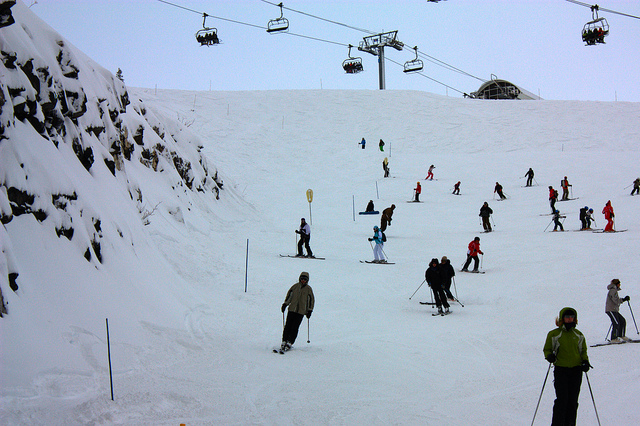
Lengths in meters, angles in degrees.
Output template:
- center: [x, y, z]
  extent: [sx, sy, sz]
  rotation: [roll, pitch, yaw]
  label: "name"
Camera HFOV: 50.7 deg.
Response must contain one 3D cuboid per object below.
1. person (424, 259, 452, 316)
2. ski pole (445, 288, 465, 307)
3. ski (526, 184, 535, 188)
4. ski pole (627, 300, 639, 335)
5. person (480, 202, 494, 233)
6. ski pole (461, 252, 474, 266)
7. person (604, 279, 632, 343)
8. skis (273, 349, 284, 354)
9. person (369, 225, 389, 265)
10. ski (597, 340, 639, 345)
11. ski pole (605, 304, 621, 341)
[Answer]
- center: [4.222, 2.582, 24.555]
  extent: [0.891, 2.292, 0.671]
  rotation: [4, 28, 25]
  label: "person"
- center: [4.964, 3.190, 25.226]
  extent: [0.882, 0.096, 0.088]
  rotation: [46, 15, 7]
  label: "ski pole"
- center: [14.088, -1.810, 45.652]
  extent: [0.916, 0.103, 0.098]
  rotation: [-11, 0, -22]
  label: "ski"
- center: [10.348, 3.528, 22.511]
  extent: [0.045, 1.272, 0.049]
  rotation: [-21, -1, 4]
  label: "ski pole"
- center: [8.701, 0.208, 35.673]
  extent: [0.645, 1.619, 0.954]
  rotation: [7, 15, 20]
  label: "person"
- center: [6.469, 2.032, 29.807]
  extent: [0.095, 0.929, 0.091]
  rotation: [3, 46, -52]
  label: "ski pole"
- center: [9.308, 3.056, 21.194]
  extent: [0.758, 1.843, 0.782]
  rotation: [5, 15, 15]
  label: "person"
- center: [-1.261, 4.196, 20.474]
  extent: [0.318, 0.144, 0.110]
  rotation: [3, -9, 28]
  label: "skis"
- center: [2.670, 1.421, 30.695]
  extent: [0.767, 1.697, 1.149]
  rotation: [2, 14, 4]
  label: "person"
- center: [9.177, 4.012, 20.994]
  extent: [1.255, 0.164, 0.052]
  rotation: [2, 14, -1]
  label: "ski"
- center: [9.196, 3.473, 21.398]
  extent: [0.084, 1.289, 0.042]
  rotation: [26, -9, -11]
  label: "ski pole"
